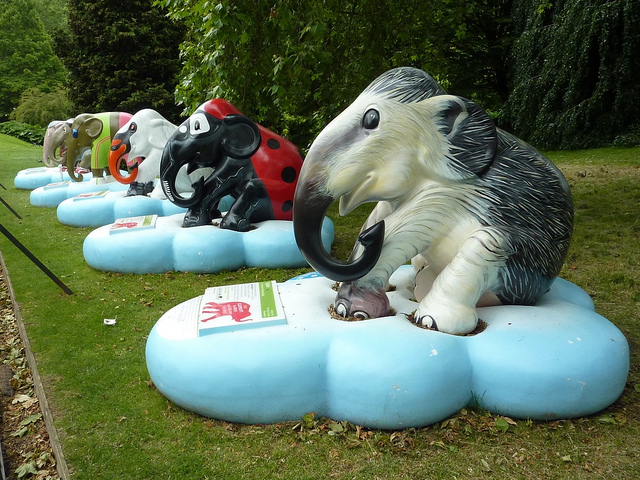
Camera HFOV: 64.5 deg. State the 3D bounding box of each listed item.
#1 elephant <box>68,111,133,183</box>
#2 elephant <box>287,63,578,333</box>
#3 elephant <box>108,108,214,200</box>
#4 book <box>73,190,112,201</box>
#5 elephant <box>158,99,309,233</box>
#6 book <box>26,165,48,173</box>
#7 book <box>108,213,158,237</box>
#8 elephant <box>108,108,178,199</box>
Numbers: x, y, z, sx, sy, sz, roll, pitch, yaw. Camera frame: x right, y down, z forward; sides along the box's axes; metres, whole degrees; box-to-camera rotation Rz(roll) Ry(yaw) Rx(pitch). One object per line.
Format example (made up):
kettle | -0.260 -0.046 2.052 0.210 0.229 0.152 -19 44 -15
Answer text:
elephant | -4.485 -1.947 10.603 1.636 1.374 0.909 -3 1 -10
elephant | 1.083 -0.401 4.720 2.515 2.327 1.886 -3 9 -9
elephant | -2.833 -1.514 9.168 1.921 1.619 0.980 -3 3 -19
book | -4.272 -0.841 9.551 0.534 0.091 0.685 2 21 -4
elephant | -1.174 -1.037 7.218 2.065 1.862 1.428 -2 7 -27
book | -8.645 -2.175 15.456 0.599 0.139 0.653 3 6 45
book | -2.563 -0.206 6.924 0.610 0.125 0.664 -1 21 -13
elephant | -3.127 -1.600 9.167 0.870 1.628 1.563 13 19 40
